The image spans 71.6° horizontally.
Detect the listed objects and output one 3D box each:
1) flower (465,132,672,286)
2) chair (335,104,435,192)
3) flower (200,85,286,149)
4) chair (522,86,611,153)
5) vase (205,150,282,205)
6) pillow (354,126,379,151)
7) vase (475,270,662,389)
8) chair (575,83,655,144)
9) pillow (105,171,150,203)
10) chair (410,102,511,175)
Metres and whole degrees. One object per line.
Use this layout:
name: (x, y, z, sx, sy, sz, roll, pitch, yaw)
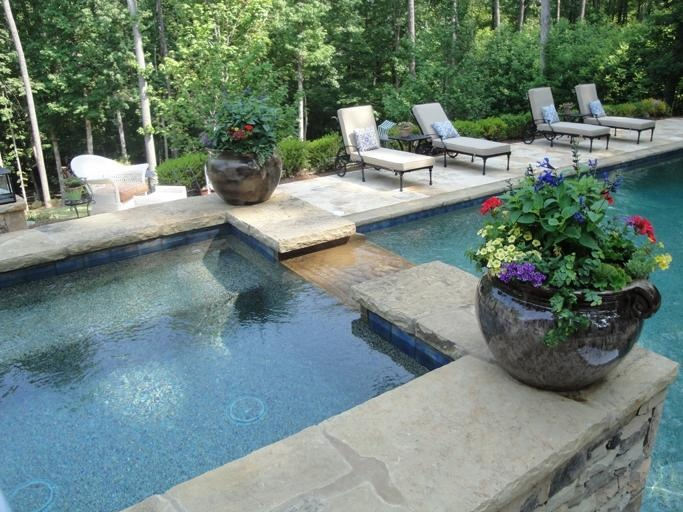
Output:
flower: (1.433, -0.228, 2.932, 0.997, 0.477, 0.774, 9, 4, -18)
chair: (0.790, -2.033, 8.778, 0.907, 1.064, 2.010, -24, 35, -29)
flower: (-1.331, -1.835, 6.290, 1.189, 0.655, 0.984, -19, 44, -29)
chair: (5.603, -3.298, 11.389, 0.813, 1.208, 1.898, -23, 31, -17)
vase: (-1.325, -1.073, 6.599, 1.171, 0.581, 0.983, -2, 12, -9)
pillow: (0.371, -2.216, 9.207, 0.653, 0.447, 0.183, -7, -4, -37)
vase: (1.284, 0.411, 2.845, 1.060, 0.516, 0.800, 0, 4, 0)
chair: (7.192, -3.688, 12.357, 0.732, 1.123, 1.779, -32, 40, -28)
pillow: (-3.824, -1.252, 8.455, 0.649, 0.301, 0.830, -1, 26, -1)
chair: (2.392, -2.434, 9.704, 0.890, 0.973, 2.013, -23, 35, -30)
